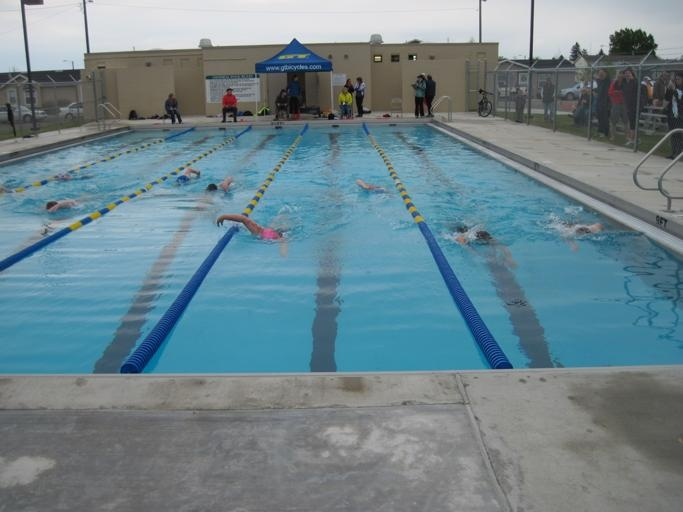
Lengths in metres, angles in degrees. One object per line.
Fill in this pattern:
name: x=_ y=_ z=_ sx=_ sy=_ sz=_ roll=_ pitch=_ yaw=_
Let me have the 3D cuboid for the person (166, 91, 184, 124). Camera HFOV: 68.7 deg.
person: x=-7.460 y=-6.442 z=21.680 sx=0.546 sy=1.269 sz=2.498 roll=-5 pitch=17 yaw=-17

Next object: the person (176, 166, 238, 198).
person: x=-2.488 y=-1.375 z=9.595 sx=0.979 sy=0.303 sz=0.923 roll=10 pitch=25 yaw=10

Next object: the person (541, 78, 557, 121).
person: x=6.979 y=-5.284 z=16.826 sx=0.355 sy=1.391 sz=1.461 roll=5 pitch=17 yaw=15

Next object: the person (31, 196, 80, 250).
person: x=-4.773 y=-0.732 z=8.166 sx=0.341 sy=0.522 sz=1.208 roll=-5 pitch=-12 yaw=-8
